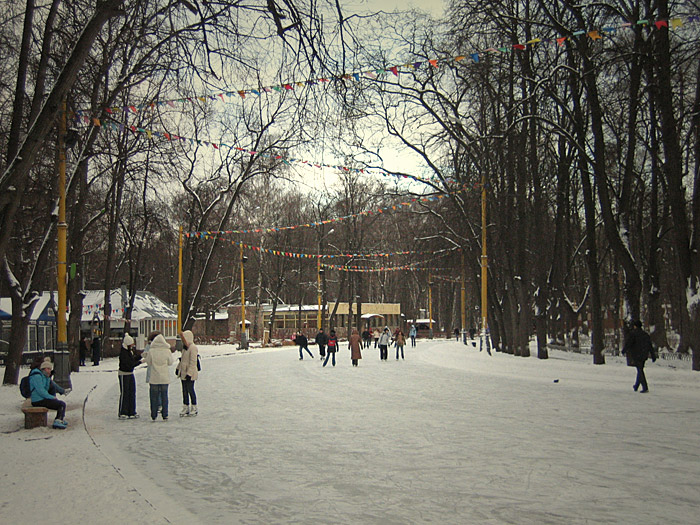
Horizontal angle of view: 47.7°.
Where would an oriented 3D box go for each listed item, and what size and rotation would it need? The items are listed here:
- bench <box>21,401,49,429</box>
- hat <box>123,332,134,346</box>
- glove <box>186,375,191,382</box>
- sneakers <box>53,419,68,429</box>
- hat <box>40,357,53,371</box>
[{"bbox_3d":[-7.591,3.741,19.017,0.558,0.416,0.466,1,-2,-32],"label":"bench"},{"bbox_3d":[-5.928,2.050,21.114,0.286,0.366,0.276,0,-1,-16],"label":"hat"},{"bbox_3d":[-4.433,3.161,21.580,0.160,0.143,0.094,-4,-10,13],"label":"glove"},{"bbox_3d":[-7.002,3.897,19.049,0.298,0.268,0.188,2,-3,-18],"label":"sneakers"},{"bbox_3d":[-7.647,2.562,19.941,0.254,0.360,0.341,9,-7,-42],"label":"hat"}]
